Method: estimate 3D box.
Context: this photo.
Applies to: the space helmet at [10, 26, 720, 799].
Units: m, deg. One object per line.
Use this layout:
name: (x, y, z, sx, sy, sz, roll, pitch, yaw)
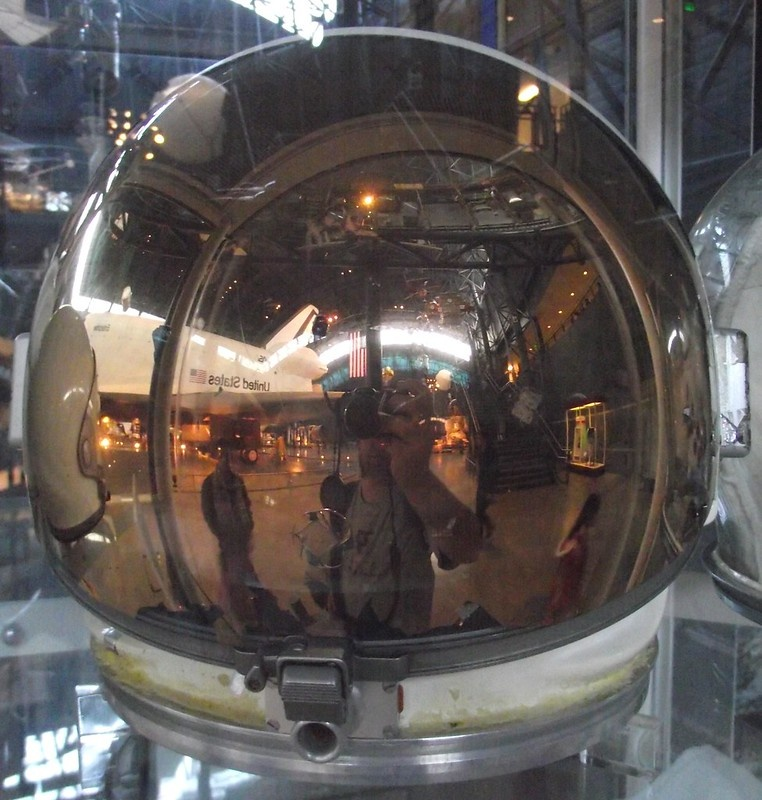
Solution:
space helmet: (-0.001, 0.034, 1.119, 0.629, 0.742, 0.699, 0, -2, 4)
